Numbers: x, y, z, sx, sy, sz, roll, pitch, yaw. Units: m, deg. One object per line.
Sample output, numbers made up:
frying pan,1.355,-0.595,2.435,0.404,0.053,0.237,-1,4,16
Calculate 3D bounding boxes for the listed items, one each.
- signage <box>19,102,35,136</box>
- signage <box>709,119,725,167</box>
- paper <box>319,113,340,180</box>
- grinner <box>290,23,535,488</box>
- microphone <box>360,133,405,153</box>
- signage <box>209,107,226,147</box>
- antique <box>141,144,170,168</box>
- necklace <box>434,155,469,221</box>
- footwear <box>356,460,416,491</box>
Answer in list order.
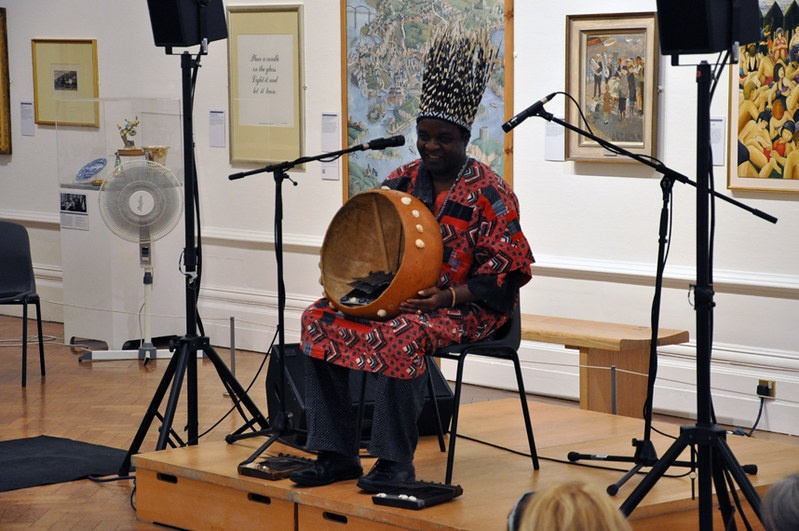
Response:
signage,-3.475,-1.366,7.978,0.202,0.309,0.049,6,9,36
signage,1.953,-0.766,5.277,0.164,0.311,0.019,2,-5,-24
paper,-0.529,-0.922,6.599,0.193,0.500,0.015,-1,3,-40
grinner,0.100,-0.056,3.865,0.900,2.003,1.073,2,2,36
microphone,-0.071,-0.533,3.689,0.162,0.055,0.228,1,7,-5
signage,-1.491,-1.121,7.031,0.178,0.299,0.044,7,9,40
antique,-1.782,-0.794,6.268,0.160,0.121,0.161,-1,-1,-6
necklace,0.234,-0.335,3.791,0.125,0.299,0.127,1,18,12
footwear,-0.045,0.876,3.616,0.207,0.117,0.126,-7,-2,-7
